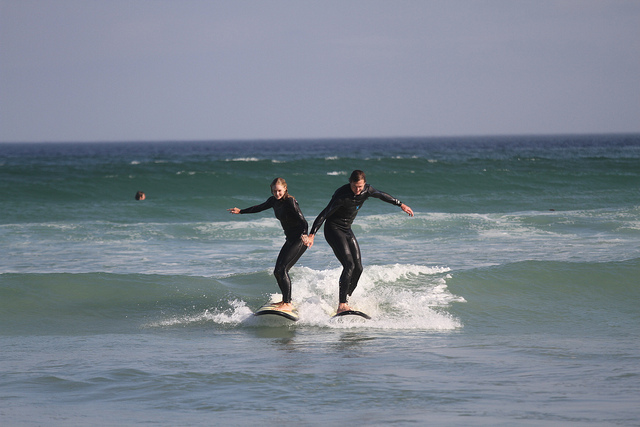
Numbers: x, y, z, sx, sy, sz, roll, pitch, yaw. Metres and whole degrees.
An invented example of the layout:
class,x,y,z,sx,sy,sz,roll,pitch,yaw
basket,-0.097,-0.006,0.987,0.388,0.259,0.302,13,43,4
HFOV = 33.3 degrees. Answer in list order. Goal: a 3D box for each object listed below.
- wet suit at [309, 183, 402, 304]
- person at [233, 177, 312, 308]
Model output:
class,x,y,z,sx,sy,sz,roll,pitch,yaw
wet suit,0.506,0.603,21.211,1.503,2.409,0.555,-1,6,-6
person,-0.771,0.567,21.214,1.194,2.584,0.624,0,6,1
